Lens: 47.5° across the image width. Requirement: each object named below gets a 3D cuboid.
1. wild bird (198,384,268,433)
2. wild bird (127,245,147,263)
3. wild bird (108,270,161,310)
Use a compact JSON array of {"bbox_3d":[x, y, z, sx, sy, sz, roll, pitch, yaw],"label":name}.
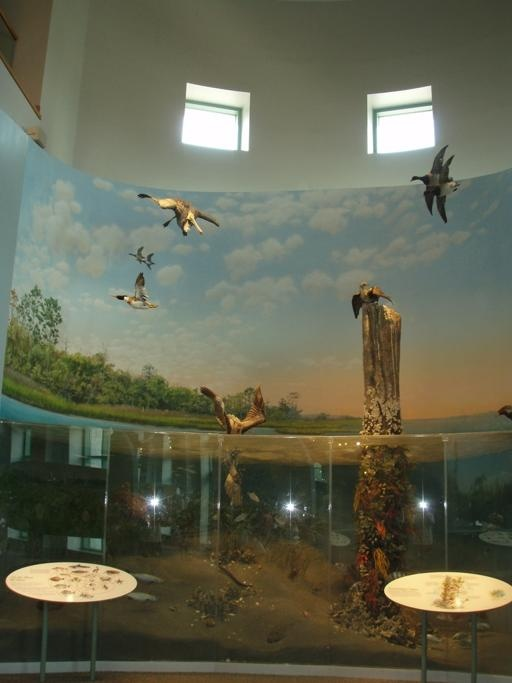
[{"bbox_3d":[-0.303,0.771,6.527,0.767,0.478,0.789,-3,6,41],"label":"wild bird"},{"bbox_3d":[-1.914,-1.443,9.420,0.297,0.143,0.370,-17,-19,-13],"label":"wild bird"},{"bbox_3d":[-1.780,-0.680,8.720,0.670,0.456,0.653,-22,10,-18],"label":"wild bird"}]
